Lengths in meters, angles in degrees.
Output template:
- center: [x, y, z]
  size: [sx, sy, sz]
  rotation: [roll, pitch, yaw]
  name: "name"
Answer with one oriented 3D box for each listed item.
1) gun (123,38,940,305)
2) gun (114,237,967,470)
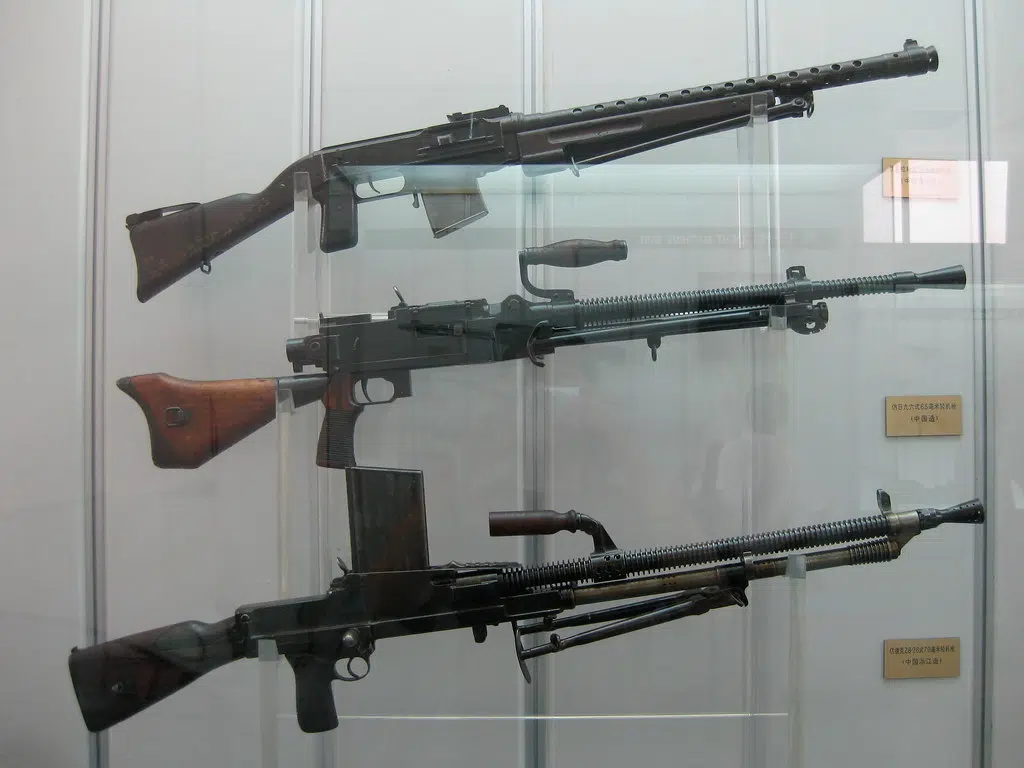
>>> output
- center: [0.114, -0.596, 4.300]
  size: [2.416, 0.566, 0.280]
  rotation: [-10, 10, 5]
  name: "gun"
- center: [0.198, -0.081, 4.266]
  size: [2.281, 0.712, 0.327]
  rotation: [-7, 5, 2]
  name: "gun"
